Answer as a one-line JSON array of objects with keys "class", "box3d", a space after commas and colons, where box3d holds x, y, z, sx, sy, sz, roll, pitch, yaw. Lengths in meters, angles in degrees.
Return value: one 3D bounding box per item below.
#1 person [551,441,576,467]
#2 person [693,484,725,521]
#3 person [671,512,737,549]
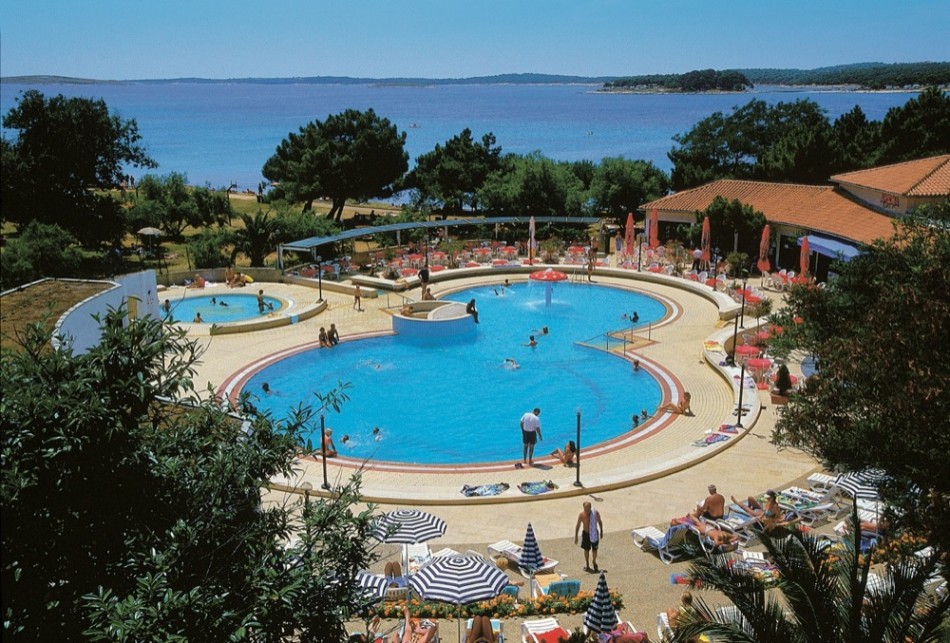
[{"class": "person", "box3d": [2.818, 4.106, 25.425, 0.735, 0.741, 0.945, -2, 13, 2]}, {"class": "person", "box3d": [6.068, 4.599, 20.601, 0.673, 1.025, 0.952, 3, 22, 7]}, {"class": "person", "box3d": [5.601, 5.096, 19.650, 0.778, 0.381, 1.248, -6, 16, -37]}]
